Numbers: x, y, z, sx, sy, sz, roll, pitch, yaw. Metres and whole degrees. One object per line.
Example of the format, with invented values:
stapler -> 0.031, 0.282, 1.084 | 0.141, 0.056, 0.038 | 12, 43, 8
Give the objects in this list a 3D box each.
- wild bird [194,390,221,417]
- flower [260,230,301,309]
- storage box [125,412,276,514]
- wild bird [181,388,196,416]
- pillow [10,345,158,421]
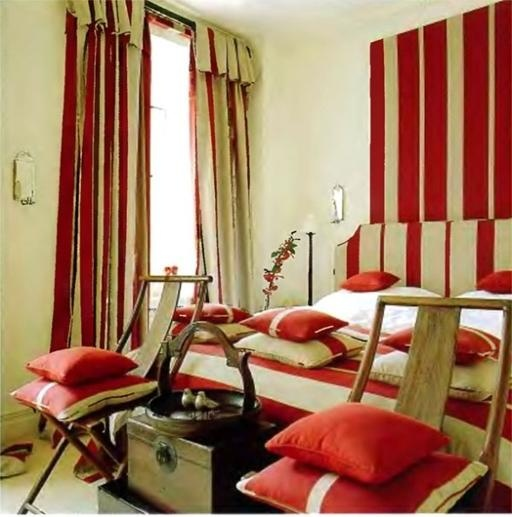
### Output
wild bird -> -0.146, 0.442, 1.522 | 0.091, 0.092, 0.053 | 7, -11, -39
flower -> 0.150, 0.111, 3.770 | 0.208, 0.622, 0.156 | 11, 32, -9
storage box -> -0.158, 0.510, 1.463 | 0.262, 0.205, 0.364 | 8, -10, -42
wild bird -> -0.205, 0.427, 1.509 | 0.040, 0.082, 0.085 | -5, -14, 19
pillow -> -0.599, 0.383, 1.802 | 0.303, 0.171, 0.307 | -7, -10, 44
